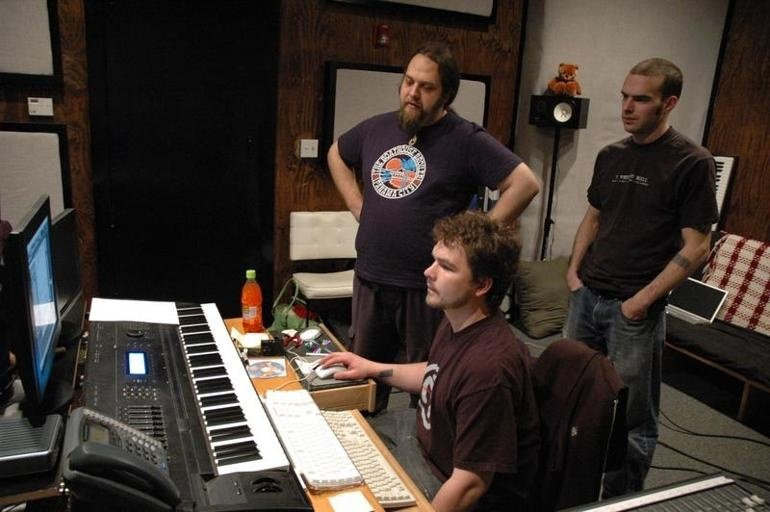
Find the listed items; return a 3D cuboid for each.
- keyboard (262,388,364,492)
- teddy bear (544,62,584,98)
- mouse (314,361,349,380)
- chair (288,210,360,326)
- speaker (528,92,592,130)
[{"bbox_3d":[-0.286,0.669,2.095,0.209,0.046,0.541,3,22,-32],"label":"keyboard"},{"bbox_3d":[1.537,-1.506,4.863,0.331,0.310,0.184,7,1,3],"label":"teddy bear"},{"bbox_3d":[-0.261,0.518,2.576,0.104,0.029,0.074,-13,21,-16],"label":"mouse"},{"bbox_3d":[-0.421,0.106,4.452,0.606,0.813,0.684,-2,15,-16],"label":"chair"},{"bbox_3d":[1.510,-1.243,4.860,0.448,0.265,0.269,15,17,37],"label":"speaker"}]
